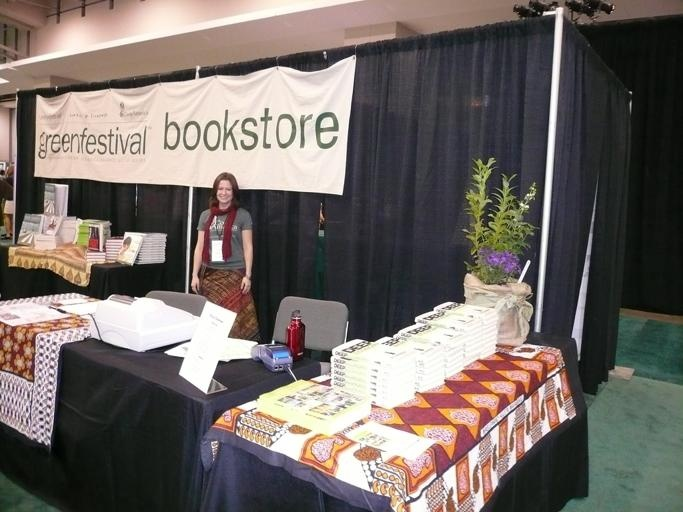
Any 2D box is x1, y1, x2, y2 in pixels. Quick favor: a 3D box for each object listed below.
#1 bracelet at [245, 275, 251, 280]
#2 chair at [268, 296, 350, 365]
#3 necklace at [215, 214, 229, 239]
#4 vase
[{"bbox_3d":[-0.740,0.164,4.043,0.029,0.045,0.012,7,-2,11],"label":"bracelet"},{"bbox_3d":[-0.145,0.431,3.326,0.330,0.654,0.419,2,2,15],"label":"chair"},{"bbox_3d":[-0.962,-0.228,4.048,0.115,0.186,0.064,2,4,20],"label":"necklace"},{"bbox_3d":[0.831,0.275,2.807,0.353,0.403,0.307,2,-3,-8],"label":"vase"}]
